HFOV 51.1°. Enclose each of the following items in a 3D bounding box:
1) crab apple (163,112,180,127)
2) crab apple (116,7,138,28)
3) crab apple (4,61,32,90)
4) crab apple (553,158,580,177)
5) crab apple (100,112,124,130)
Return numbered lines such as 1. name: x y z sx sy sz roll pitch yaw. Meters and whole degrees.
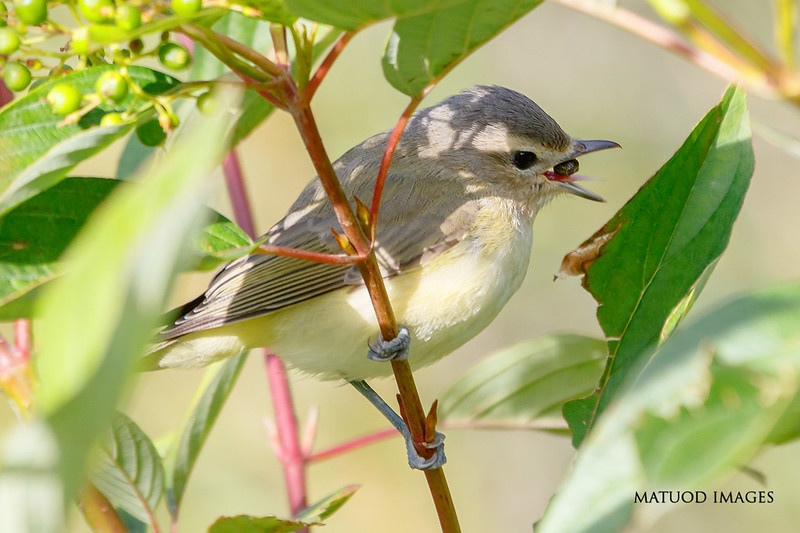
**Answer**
1. crab apple: -0.517 -0.336 1.897 0.013 0.035 0.025 -44 -28 -22
2. crab apple: -0.559 -0.512 1.720 0.048 0.041 0.032 0 -40 -13
3. crab apple: -0.884 -0.436 1.922 0.057 0.060 0.068 11 -43 -25
4. crab apple: 0.750 -0.444 3.811 0.088 0.052 0.113 -11 -4 -42
5. crab apple: -0.644 -0.333 1.888 0.055 0.037 0.040 -5 -39 -6
